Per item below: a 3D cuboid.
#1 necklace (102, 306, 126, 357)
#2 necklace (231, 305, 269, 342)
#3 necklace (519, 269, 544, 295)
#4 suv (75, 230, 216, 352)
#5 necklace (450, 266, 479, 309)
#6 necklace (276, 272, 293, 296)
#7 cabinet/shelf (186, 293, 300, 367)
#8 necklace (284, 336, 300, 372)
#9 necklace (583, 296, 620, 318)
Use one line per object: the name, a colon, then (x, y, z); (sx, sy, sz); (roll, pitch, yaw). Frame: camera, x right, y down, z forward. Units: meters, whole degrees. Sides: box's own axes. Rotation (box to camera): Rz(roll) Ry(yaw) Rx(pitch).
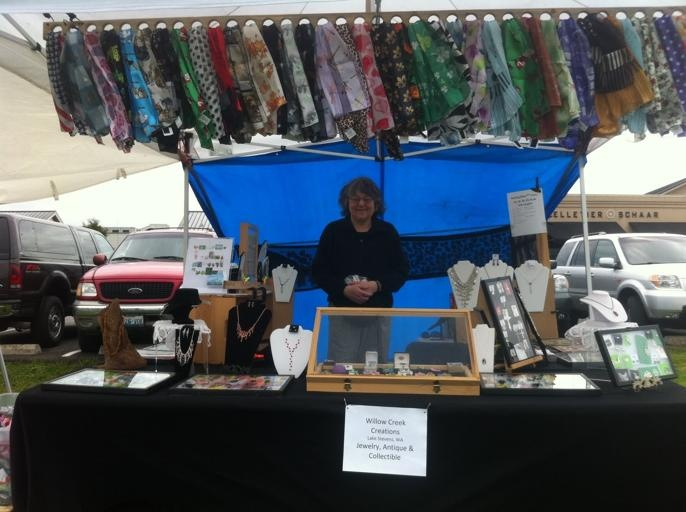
necklace: (-1.265, 0.397, 3.074); (0.130, 0.231, 0.172); (-15, 9, -25)
necklace: (-0.595, 0.424, 3.452); (0.238, 0.240, 0.016); (4, -17, 29)
necklace: (1.367, 0.174, 4.095); (0.212, 0.182, 0.070); (-9, 9, 13)
suv: (-2.446, 0.314, 7.796); (1.433, 1.536, 2.905); (1, 2, -6)
necklace: (0.812, 0.208, 3.767); (0.203, 0.352, 0.026); (-2, 16, 15)
necklace: (-0.548, 0.250, 5.151); (0.184, 0.213, 0.063); (1, -3, -8)
cabinet/shelf: (-1.047, 0.690, 5.217); (0.713, 0.529, 0.398); (1, -7, -7)
necklace: (-0.285, 0.533, 3.035); (0.093, 0.136, 0.032); (4, -7, 10)
necklace: (1.516, 0.289, 3.329); (0.120, 0.076, 0.143); (9, 2, 9)
